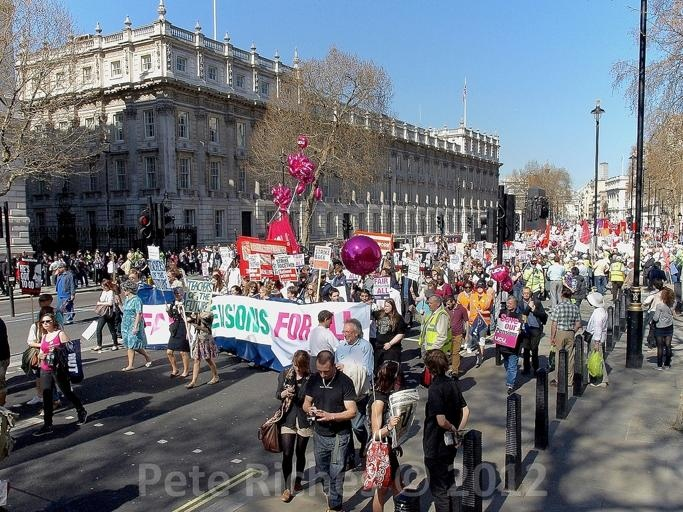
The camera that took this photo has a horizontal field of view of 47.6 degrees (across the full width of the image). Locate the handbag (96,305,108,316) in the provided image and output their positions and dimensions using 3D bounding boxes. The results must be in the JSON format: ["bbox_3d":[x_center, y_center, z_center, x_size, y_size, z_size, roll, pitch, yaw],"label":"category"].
[{"bbox_3d":[-6.812,1.567,22.077,0.253,0.306,0.092,10,-3,10],"label":"handbag"}]

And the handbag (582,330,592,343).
[{"bbox_3d":[6.267,2.052,19.719,0.209,0.301,0.394,12,-4,19],"label":"handbag"}]

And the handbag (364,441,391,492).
[{"bbox_3d":[0.667,3.837,14.277,0.512,0.871,0.331,-1,0,0],"label":"handbag"}]

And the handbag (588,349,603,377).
[{"bbox_3d":[6.323,2.662,19.219,0.376,0.649,0.234,-1,-11,29],"label":"handbag"}]
